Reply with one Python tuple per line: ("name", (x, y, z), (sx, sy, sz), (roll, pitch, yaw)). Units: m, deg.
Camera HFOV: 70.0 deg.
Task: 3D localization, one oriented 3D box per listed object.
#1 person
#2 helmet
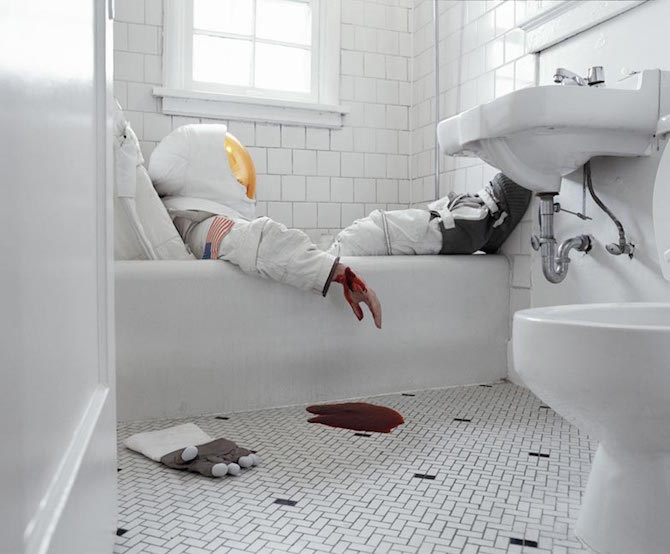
("person", (0.002, -0.040, 2.010), (1.307, 0.537, 0.923), (2, 26, -14))
("helmet", (-0.520, -0.439, 2.002), (0.419, 0.344, 0.298), (1, 7, -10))
